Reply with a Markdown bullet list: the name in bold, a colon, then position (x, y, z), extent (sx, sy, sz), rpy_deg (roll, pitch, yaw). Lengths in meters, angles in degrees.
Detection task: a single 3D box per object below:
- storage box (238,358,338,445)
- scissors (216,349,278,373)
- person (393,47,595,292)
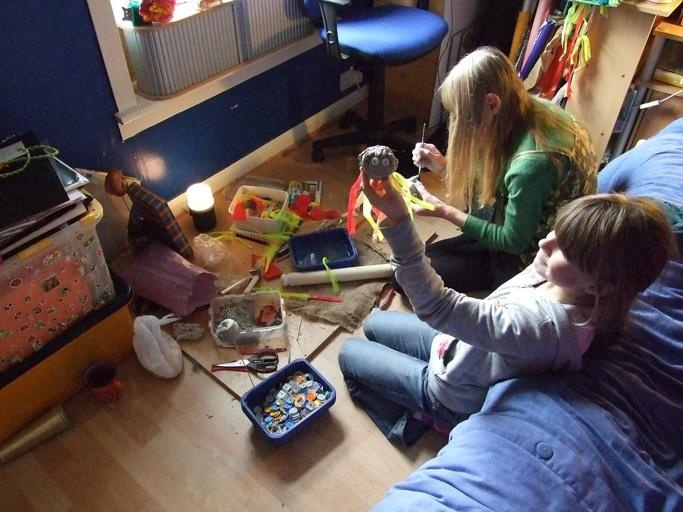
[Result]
- **storage box**: position (-0.196, 0.546, 1.870), extent (0.299, 0.108, 0.248), rpy_deg (-33, 60, -19)
- **scissors**: position (-0.385, 0.433, 2.022), extent (0.233, 0.045, 0.107), rpy_deg (-1, 53, -1)
- **person**: position (0.635, -0.164, 2.093), extent (0.658, 1.271, 0.617), rpy_deg (6, 37, 13)
